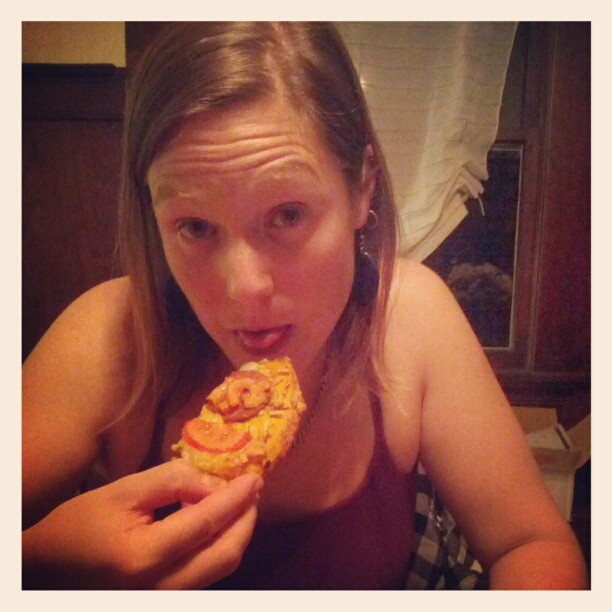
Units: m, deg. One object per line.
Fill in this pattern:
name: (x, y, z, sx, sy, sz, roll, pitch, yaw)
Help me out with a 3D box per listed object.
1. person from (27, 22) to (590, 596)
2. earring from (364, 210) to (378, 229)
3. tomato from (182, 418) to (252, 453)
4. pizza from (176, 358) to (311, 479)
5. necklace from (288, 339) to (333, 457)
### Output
person: (0.003, -0.023, 1.564, 1.166, 1.273, 0.702, -1, -1, -1)
earring: (0.165, -0.228, 1.596, 0.014, 0.048, 0.030, 12, 12, 36)
tomato: (-0.209, 0.299, 1.423, 0.174, 0.061, 0.048, 2, 6, 27)
pizza: (-0.146, 0.262, 1.457, 0.277, 0.245, 0.160, -3, 6, -27)
necklace: (0.006, 0.239, 1.610, 0.034, 0.313, 0.032, 14, -3, -10)
